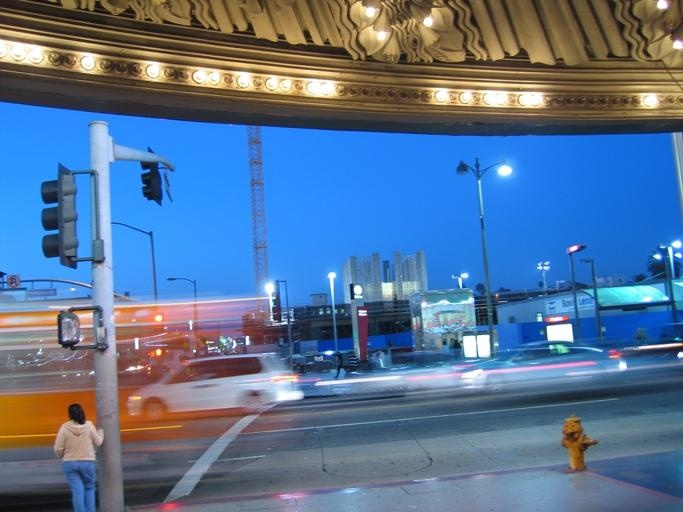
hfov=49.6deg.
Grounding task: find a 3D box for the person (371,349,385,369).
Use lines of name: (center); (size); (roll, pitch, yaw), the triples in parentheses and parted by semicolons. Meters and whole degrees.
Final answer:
person: (2.018, 5.598, 39.630); (0.906, 1.024, 0.712); (-3, 1, 1)
